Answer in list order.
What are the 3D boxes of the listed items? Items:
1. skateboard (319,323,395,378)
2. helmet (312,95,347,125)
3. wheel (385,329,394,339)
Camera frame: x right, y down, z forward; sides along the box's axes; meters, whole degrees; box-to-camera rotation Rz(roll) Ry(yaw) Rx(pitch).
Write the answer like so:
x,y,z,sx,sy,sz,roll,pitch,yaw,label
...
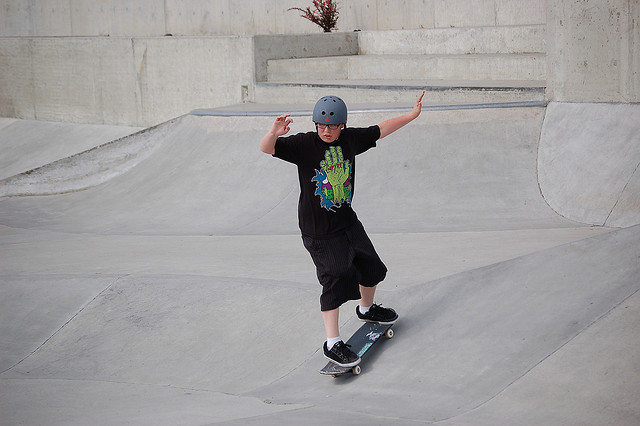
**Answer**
x,y,z,sx,sy,sz,roll,pitch,yaw,label
0.375,1.222,7.285,0.276,1.088,0.163,15,-58,28,skateboard
0.069,-0.902,7.215,0.305,0.397,0.315,4,-71,-5,helmet
0.659,1.140,7.462,0.031,0.084,0.086,-1,4,42,wheel
